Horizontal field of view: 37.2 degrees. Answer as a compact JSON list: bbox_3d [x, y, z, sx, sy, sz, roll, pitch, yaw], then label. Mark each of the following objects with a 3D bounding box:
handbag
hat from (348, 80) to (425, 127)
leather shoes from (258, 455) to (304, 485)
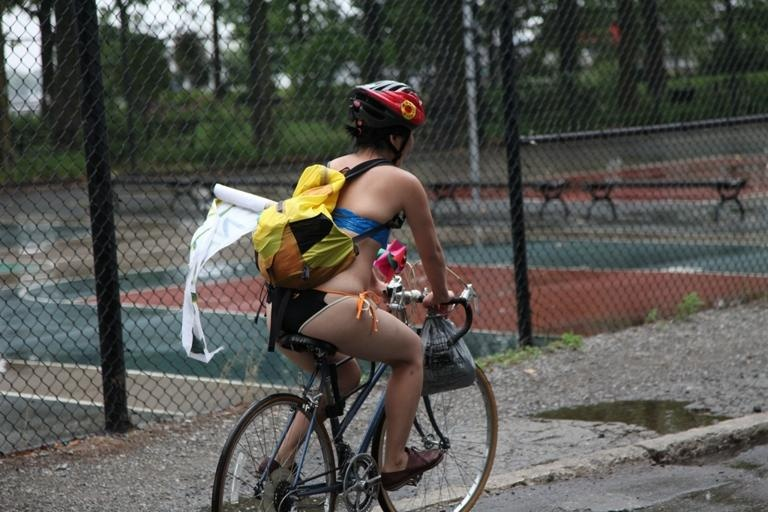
[{"bbox_3d":[0.514,0.882,10.296,0.517,0.839,0.431,-7,-15,-7],"label":"handbag"},{"bbox_3d":[0.015,-1.317,9.847,0.486,0.322,0.414,11,-7,-8],"label":"hat"},{"bbox_3d":[-0.876,1.847,9.828,0.416,0.163,0.160,14,20,-14],"label":"leather shoes"}]
